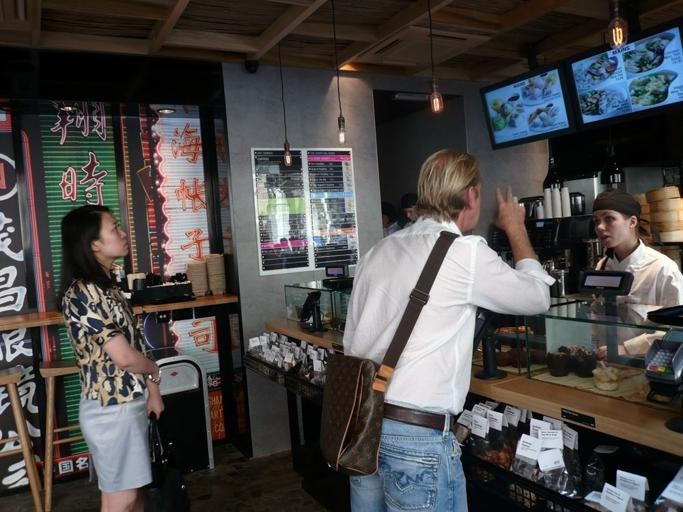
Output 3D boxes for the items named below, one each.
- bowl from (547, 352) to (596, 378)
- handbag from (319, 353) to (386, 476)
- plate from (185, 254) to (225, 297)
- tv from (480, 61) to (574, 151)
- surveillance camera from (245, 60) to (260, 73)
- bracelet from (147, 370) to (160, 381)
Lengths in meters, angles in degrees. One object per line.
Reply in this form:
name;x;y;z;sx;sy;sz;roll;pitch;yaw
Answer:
bowl;1.004;0.469;2.137;0.147;0.069;0.110;-1;-2;18
handbag;0.015;0.591;1.886;0.170;0.407;0.294;-7;7;-40
plate;-1.215;0.188;4.418;0.376;0.387;0.219;-1;5;3
tv;1.726;-1.457;4.651;0.130;0.635;0.925;-21;10;-35
surveillance camera;-0.764;-1.618;4.201;0.127;0.102;0.107;-4;5;-16
bracelet;-1.038;0.659;2.713;0.055;0.055;0.073;-2;5;-20
